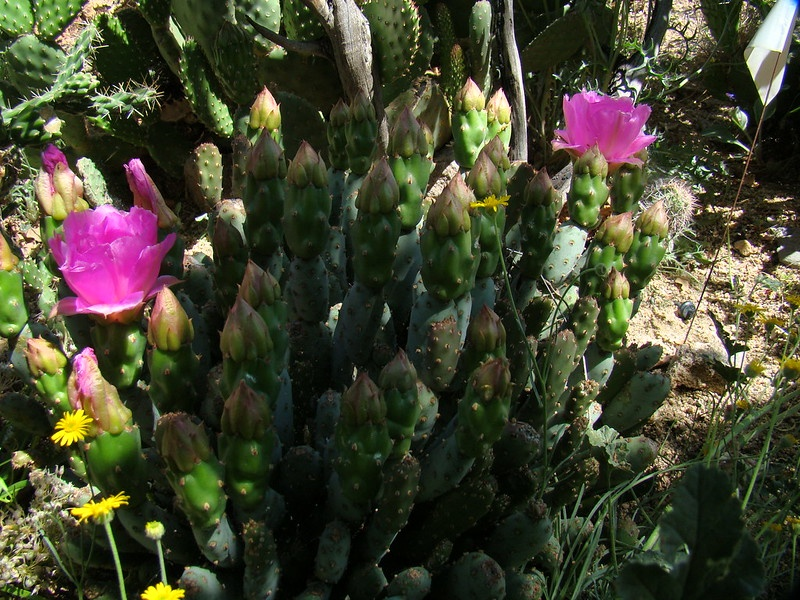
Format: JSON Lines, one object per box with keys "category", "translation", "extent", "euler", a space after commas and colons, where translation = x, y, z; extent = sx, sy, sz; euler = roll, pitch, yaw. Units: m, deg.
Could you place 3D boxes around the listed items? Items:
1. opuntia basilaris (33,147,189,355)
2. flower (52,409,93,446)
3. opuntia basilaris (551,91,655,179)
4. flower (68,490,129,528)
{"category": "opuntia basilaris", "translation": [-0.544, -0.094, 1.467], "extent": [0.246, 0.293, 0.276], "euler": [13, 32, 17]}
{"category": "flower", "translation": [-0.582, 0.226, 1.282], "extent": [0.062, 0.019, 0.059], "euler": [21, 13, -13]}
{"category": "opuntia basilaris", "translation": [0.540, -0.382, 1.888], "extent": [0.225, 0.278, 0.238], "euler": [-18, 26, -28]}
{"category": "flower", "translation": [-0.556, 0.385, 1.334], "extent": [0.091, 0.045, 0.100], "euler": [-17, 4, 14]}
